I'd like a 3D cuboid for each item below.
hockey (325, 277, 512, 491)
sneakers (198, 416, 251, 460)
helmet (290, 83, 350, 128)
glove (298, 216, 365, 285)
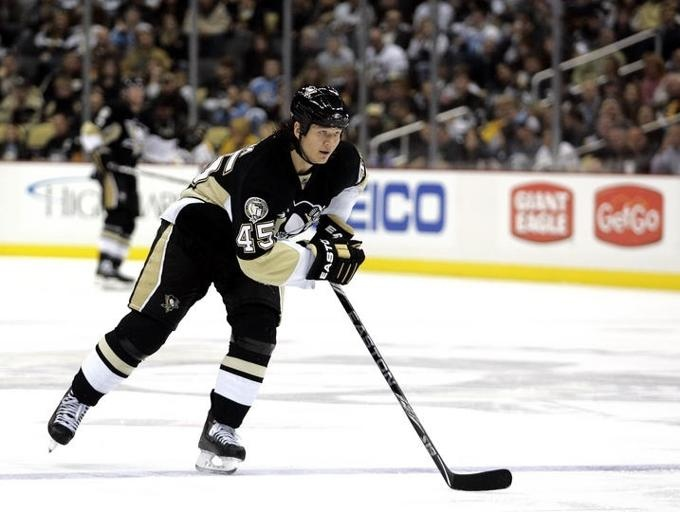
[{"bbox_3d":[0.231,0.441,3.392,0.187,0.026,1.344,-19,33,-13],"label":"hockey"},{"bbox_3d":[-0.401,0.633,3.113,0.180,0.119,0.137,7,8,7],"label":"sneakers"},{"bbox_3d":[-0.051,-0.496,3.078,0.149,0.162,0.182,-3,-6,-35],"label":"helmet"},{"bbox_3d":[-0.015,-0.013,3.107,0.103,0.212,0.213,-22,-56,41],"label":"glove"}]
